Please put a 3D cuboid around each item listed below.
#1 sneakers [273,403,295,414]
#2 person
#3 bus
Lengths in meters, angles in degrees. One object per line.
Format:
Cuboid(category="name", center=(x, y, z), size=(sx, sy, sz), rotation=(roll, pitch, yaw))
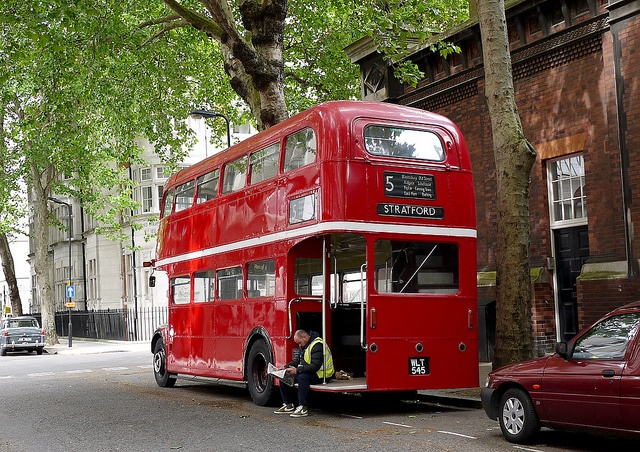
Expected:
Cuboid(category="sneakers", center=(-0.748, 3.603, 11.880), size=(0.459, 0.210, 0.172), rotation=(-1, -6, 35))
Cuboid(category="person", center=(-0.360, 2.812, 11.426), size=(1.010, 1.630, 0.728), rotation=(-10, -12, 37))
Cuboid(category="bus", center=(-0.652, 0.895, 16.029), size=(3.769, 5.527, 10.574), rotation=(3, -6, -30))
